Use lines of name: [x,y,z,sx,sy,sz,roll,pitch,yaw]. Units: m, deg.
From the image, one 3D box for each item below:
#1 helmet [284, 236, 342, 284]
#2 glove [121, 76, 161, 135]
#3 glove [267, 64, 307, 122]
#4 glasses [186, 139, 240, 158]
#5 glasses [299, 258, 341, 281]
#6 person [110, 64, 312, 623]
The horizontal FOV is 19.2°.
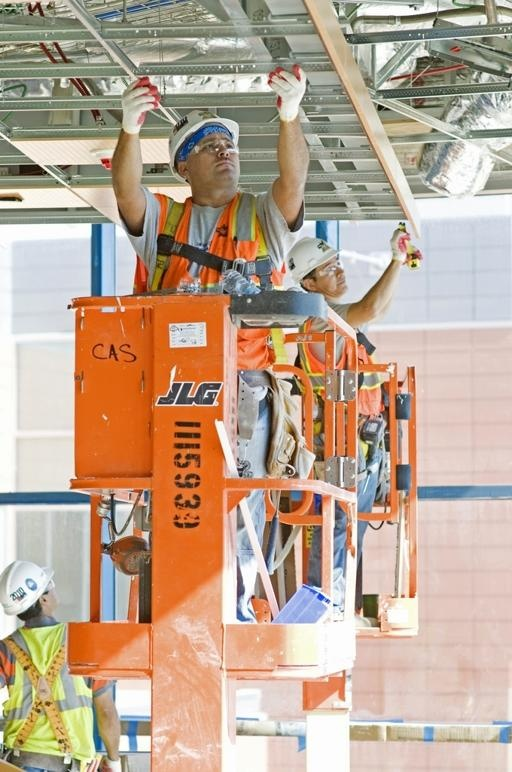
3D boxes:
helmet: [0.297,-0.726,8.419,0.277,0.154,0.223,-36,0,35]
glove: [-0.451,-1.094,5.862,0.140,0.229,0.160,0,-2,-5]
glove: [0.115,-1.135,5.830,0.136,0.221,0.242,0,-2,0]
glasses: [-0.186,-0.979,6.211,0.122,0.048,0.106,-14,-2,38]
glasses: [0.358,-0.642,8.624,0.197,0.104,0.139,-33,4,28]
person: [-0.185,-0.148,5.984,0.769,2.131,0.741,0,-2,4]
